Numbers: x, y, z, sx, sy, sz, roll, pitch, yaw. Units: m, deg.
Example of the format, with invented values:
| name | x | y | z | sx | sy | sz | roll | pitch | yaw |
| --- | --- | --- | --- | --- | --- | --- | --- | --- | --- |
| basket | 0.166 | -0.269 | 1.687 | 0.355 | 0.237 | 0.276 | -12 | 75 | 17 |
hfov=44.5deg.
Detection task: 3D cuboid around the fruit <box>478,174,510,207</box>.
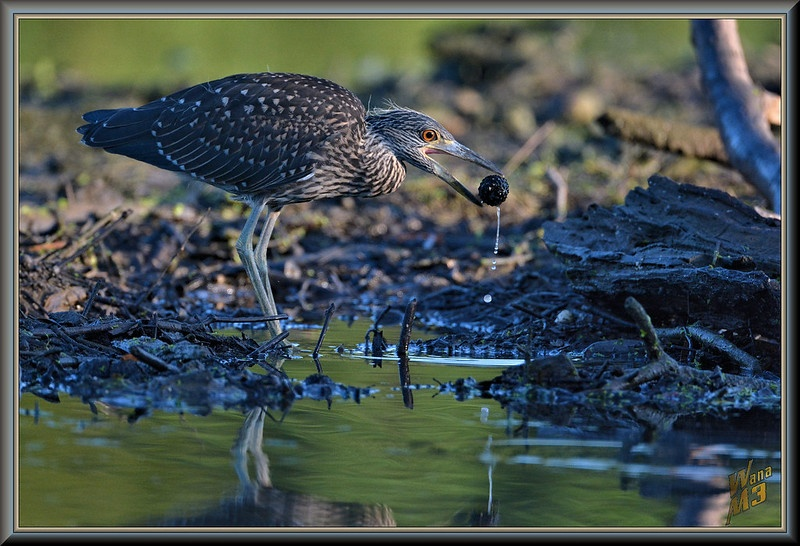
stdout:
| name | x | y | z | sx | sy | sz | roll | pitch | yaw |
| --- | --- | --- | --- | --- | --- | --- | --- | --- | --- |
| fruit | 0.861 | -0.774 | 8.925 | 0.272 | 0.236 | 0.293 | 0 | 27 | 6 |
